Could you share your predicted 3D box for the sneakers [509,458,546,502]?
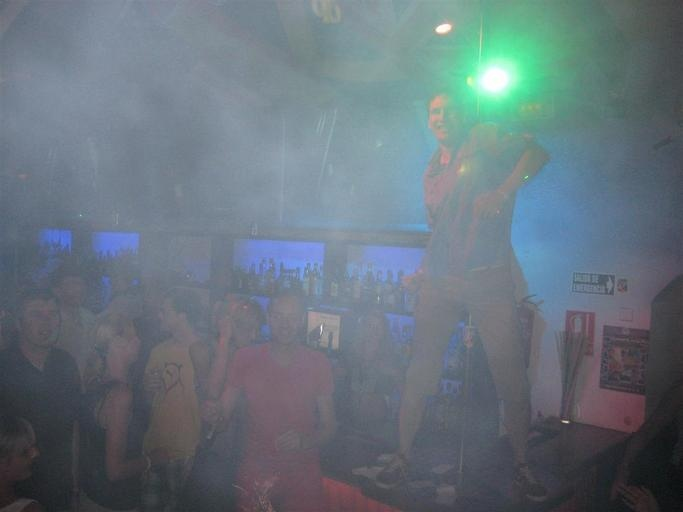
[{"bbox_3d":[0.972,1.193,3.202,0.219,0.220,0.117,-4,-8,26],"label":"sneakers"}]
